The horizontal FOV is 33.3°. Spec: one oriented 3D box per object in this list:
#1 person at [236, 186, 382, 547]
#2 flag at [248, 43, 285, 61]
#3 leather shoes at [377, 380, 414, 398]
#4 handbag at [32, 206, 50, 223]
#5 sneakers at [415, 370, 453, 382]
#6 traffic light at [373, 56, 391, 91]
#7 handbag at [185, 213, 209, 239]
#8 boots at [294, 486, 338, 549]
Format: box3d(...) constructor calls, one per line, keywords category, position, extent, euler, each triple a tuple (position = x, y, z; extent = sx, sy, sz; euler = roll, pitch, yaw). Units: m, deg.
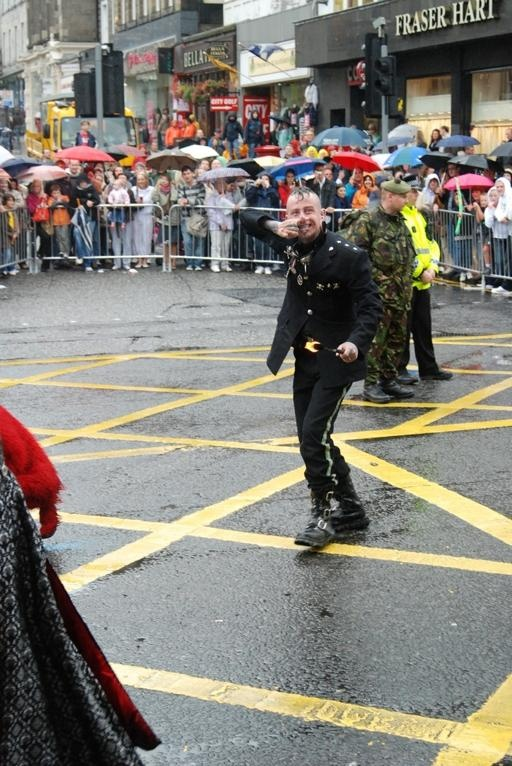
box3d(category="person", position=(0.274, -0.076, 4.466), extent=(0.709, 1.827, 0.529), euler=(5, 13, 21))
box3d(category="flag", position=(0.460, -13.357, 34.182), extent=(1.336, 0.711, 1.568), euler=(3, 11, 17))
box3d(category="leather shoes", position=(1.314, 0.058, 8.105), extent=(0.396, 0.156, 0.136), euler=(9, 10, -5))
box3d(category="handbag", position=(-4.326, -3.408, 17.300), extent=(0.327, 0.325, 0.141), euler=(-4, 13, -22))
box3d(category="sneakers", position=(1.833, -0.092, 8.826), extent=(0.345, 0.137, 0.122), euler=(-2, 13, -3))
box3d(category="traffic light", position=(2.406, -5.857, 16.319), extent=(0.323, 0.673, 0.114), euler=(-2, 13, -11))
box3d(category="handbag", position=(-1.215, -3.240, 17.575), extent=(0.499, 0.491, 0.195), euler=(4, 10, 4))
box3d(category="boots", position=(0.332, 0.685, 4.529), extent=(0.161, 0.271, 0.403), euler=(7, 18, 26))
